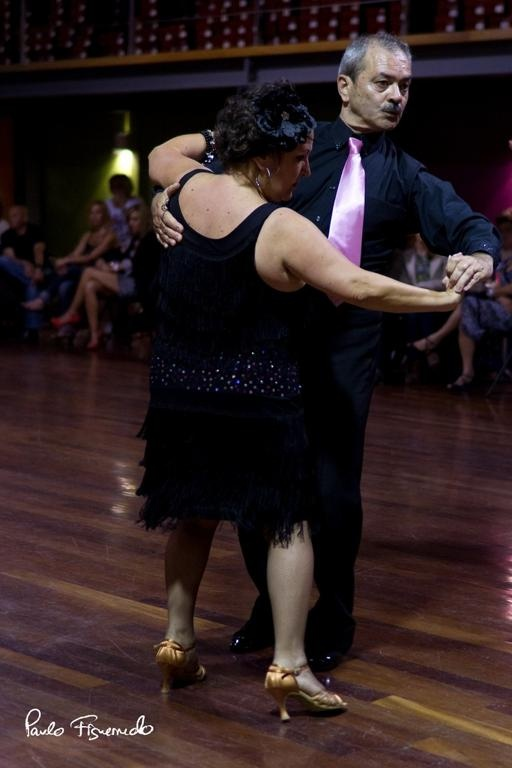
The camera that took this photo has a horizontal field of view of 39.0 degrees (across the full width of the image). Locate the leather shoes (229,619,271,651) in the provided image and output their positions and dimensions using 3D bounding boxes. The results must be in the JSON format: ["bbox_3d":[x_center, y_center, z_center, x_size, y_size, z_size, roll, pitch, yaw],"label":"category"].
[{"bbox_3d":[-0.005,0.572,1.640,0.043,0.047,0.125,-8,-11,37],"label":"leather shoes"}]

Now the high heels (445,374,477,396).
[{"bbox_3d":[1.772,0.022,6.263,0.123,0.111,0.350,-2,-1,39],"label":"high heels"}]

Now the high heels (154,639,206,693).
[{"bbox_3d":[-0.131,0.528,1.383,0.060,0.076,0.164,1,3,19],"label":"high heels"}]

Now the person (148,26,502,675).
[{"bbox_3d":[-0.097,-0.002,1.496,0.841,1.155,0.391,27,32,27],"label":"person"}]

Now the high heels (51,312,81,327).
[{"bbox_3d":[-2.165,-0.738,8.209,0.295,0.101,0.156,-11,5,-34],"label":"high heels"}]

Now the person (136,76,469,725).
[{"bbox_3d":[0.021,0.060,1.247,0.334,1.075,0.468,2,3,-42],"label":"person"}]
